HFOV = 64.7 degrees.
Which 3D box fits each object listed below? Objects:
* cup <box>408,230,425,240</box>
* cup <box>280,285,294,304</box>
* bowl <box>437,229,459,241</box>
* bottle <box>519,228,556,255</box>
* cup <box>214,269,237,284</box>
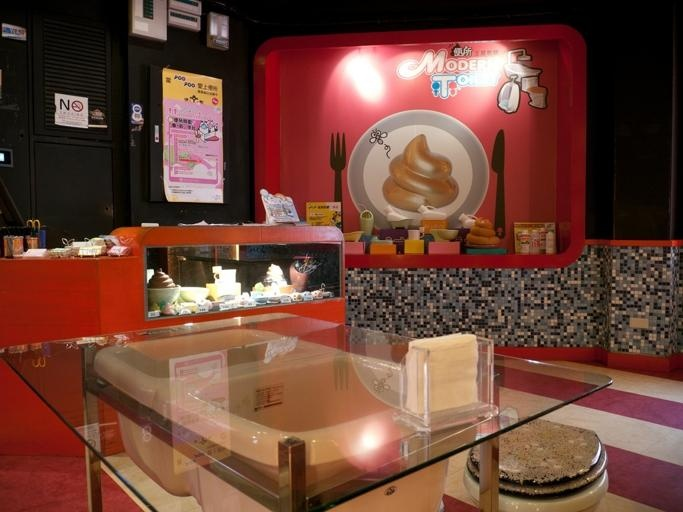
[{"bbox_3d":[0.754,-0.222,5.496,0.109,0.091,0.116,1,9,0],"label":"cup"},{"bbox_3d":[-0.430,0.294,4.312,0.119,0.138,0.072,-5,14,-20],"label":"cup"},{"bbox_3d":[1.104,-0.226,5.562,0.279,0.117,0.104,-4,14,-16],"label":"bowl"},{"bbox_3d":[1.985,-0.159,5.454,0.377,0.241,0.217,5,14,20],"label":"bottle"},{"bbox_3d":[-0.857,0.143,4.016,0.125,0.095,0.090,-1,3,-3],"label":"cup"}]
